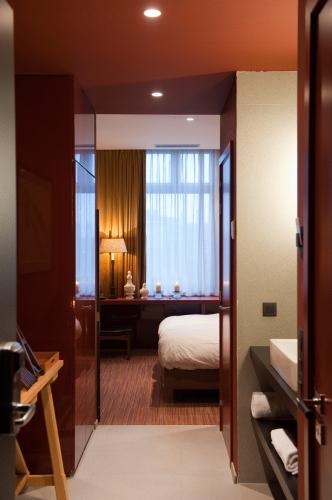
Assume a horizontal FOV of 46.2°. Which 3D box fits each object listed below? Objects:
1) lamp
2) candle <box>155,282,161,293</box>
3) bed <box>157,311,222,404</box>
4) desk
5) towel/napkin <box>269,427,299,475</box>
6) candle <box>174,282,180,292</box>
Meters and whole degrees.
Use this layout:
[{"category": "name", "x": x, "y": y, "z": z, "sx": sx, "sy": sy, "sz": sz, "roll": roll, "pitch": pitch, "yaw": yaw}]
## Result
[{"category": "lamp", "x": -0.739, "y": 0.195, "z": 5.504, "sx": 0.377, "sy": 0.944, "sz": 0.376, "roll": 1, "pitch": -1, "yaw": -6}, {"category": "candle", "x": -0.106, "y": 0.532, "z": 5.588, "sx": 0.074, "sy": 0.248, "sz": 0.094, "roll": -2, "pitch": 4, "yaw": -21}, {"category": "bed", "x": 0.225, "y": 1.114, "z": 4.027, "sx": 0.660, "sy": 0.649, "sz": 0.951, "roll": 0, "pitch": -2, "yaw": 7}, {"category": "desk", "x": -0.323, "y": 0.935, "z": 5.105, "sx": 1.259, "sy": 0.717, "sz": 0.801, "roll": -2, "pitch": -13, "yaw": -7}, {"category": "towel/napkin", "x": 0.489, "y": 0.814, "z": 1.586, "sx": 0.087, "sy": 0.049, "sz": 0.122, "roll": -6, "pitch": 7, "yaw": 7}, {"category": "candle", "x": 0.156, "y": 0.537, "z": 5.579, "sx": 0.077, "sy": 0.139, "sz": 0.156, "roll": 0, "pitch": -2, "yaw": 0}]
